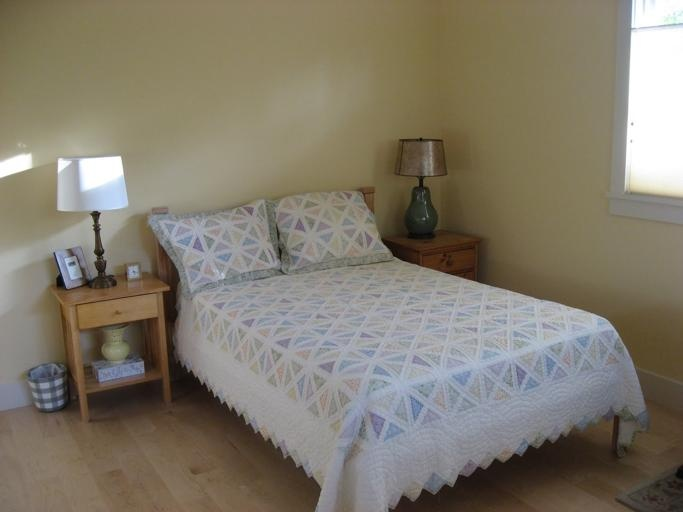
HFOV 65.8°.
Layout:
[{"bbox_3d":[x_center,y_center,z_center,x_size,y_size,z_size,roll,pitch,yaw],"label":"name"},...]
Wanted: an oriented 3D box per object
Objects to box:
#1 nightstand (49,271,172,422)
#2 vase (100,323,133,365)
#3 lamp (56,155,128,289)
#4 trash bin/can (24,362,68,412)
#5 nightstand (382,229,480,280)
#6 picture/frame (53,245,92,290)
[{"bbox_3d":[-1.479,0.582,3.490,0.580,0.775,0.512,-8,13,-35],"label":"nightstand"},{"bbox_3d":[-1.492,0.589,3.497,0.197,0.258,0.209,-3,4,1],"label":"vase"},{"bbox_3d":[-1.546,-0.213,3.351,0.478,0.782,0.496,-3,12,-13],"label":"lamp"},{"bbox_3d":[-1.881,0.855,3.416,0.205,0.231,0.205,-1,13,-4],"label":"trash bin/can"},{"bbox_3d":[0.779,0.142,4.424,0.584,0.612,0.472,-11,17,-23],"label":"nightstand"},{"bbox_3d":[-1.737,0.085,3.396,0.124,0.244,0.201,-7,13,39],"label":"picture/frame"}]
